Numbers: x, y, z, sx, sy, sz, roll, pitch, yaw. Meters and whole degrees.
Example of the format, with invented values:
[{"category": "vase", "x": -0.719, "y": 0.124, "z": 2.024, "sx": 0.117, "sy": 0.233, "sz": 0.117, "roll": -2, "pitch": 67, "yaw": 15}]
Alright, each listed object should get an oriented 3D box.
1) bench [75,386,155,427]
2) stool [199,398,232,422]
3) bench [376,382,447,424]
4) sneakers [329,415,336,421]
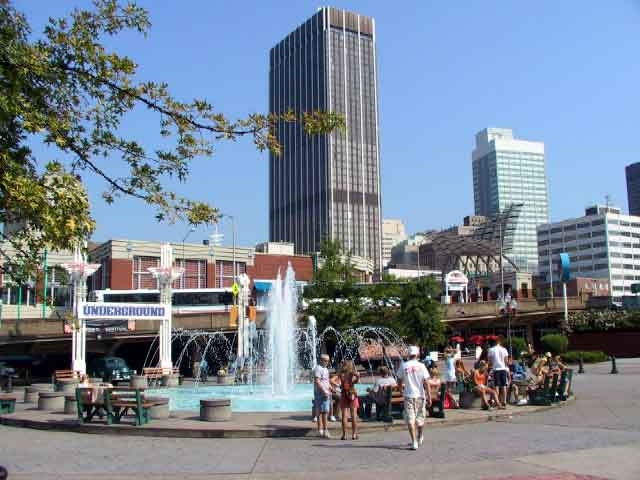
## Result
[{"category": "bench", "x": -5.454, "y": 4.475, "z": 17.695, "sx": 2.109, "sy": 0.954, "sz": 1.565, "roll": -4, "pitch": -11, "yaw": 16}, {"category": "stool", "x": -2.794, "y": 4.572, "z": 17.587, "sx": 0.588, "sy": 0.413, "sz": 0.628, "roll": -3, "pitch": -9, "yaw": 16}, {"category": "bench", "x": 2.490, "y": 4.338, "z": 17.372, "sx": 2.244, "sy": 0.902, "sz": 0.776, "roll": 5, "pitch": -12, "yaw": -30}, {"category": "sneakers", "x": 0.348, "y": 4.701, "z": 17.107, "sx": 0.087, "sy": 0.110, "sz": 0.154, "roll": 4, "pitch": -26, "yaw": -21}]
